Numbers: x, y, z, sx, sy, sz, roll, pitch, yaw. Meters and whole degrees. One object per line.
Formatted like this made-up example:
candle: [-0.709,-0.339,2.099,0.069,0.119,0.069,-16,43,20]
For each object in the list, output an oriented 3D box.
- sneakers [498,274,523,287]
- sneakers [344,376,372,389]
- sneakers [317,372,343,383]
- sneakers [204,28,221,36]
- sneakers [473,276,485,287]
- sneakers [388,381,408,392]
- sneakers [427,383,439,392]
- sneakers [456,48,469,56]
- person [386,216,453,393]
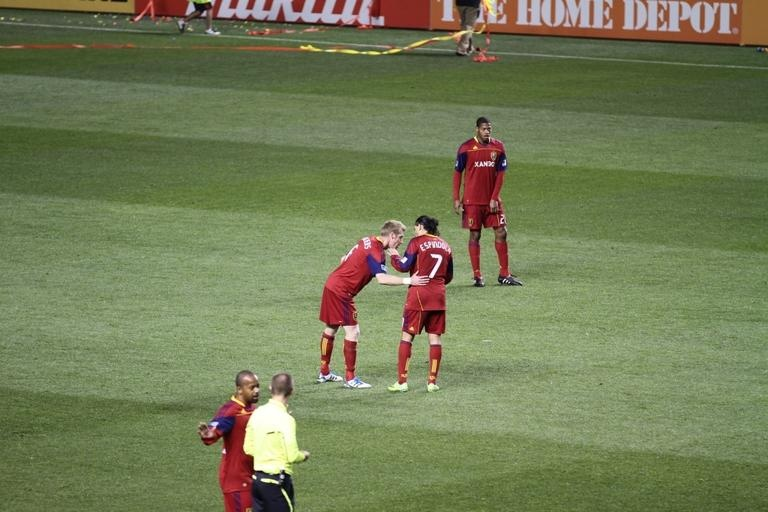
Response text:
sneakers: [2.197,0.515,28.868,0.466,0.172,0.164,2,4,8]
sneakers: [-0.427,2.093,25.928,0.467,0.185,0.163,1,2,1]
sneakers: [-0.863,2.020,26.090,0.459,0.204,0.148,-1,6,-10]
sneakers: [-4.678,-6.074,44.601,0.492,0.194,0.174,1,21,-2]
sneakers: [1.680,0.531,28.875,0.113,0.101,0.230,0,-2,-21]
sneakers: [0.218,2.142,25.829,0.340,0.153,0.119,2,6,13]
sneakers: [0.753,2.153,25.732,0.089,0.098,0.224,3,9,18]
sneakers: [2.022,-5.256,42.444,0.250,0.162,0.240,23,-37,14]
person: [0.576,0.825,25.834,0.899,2.443,0.403,4,1,-1]
